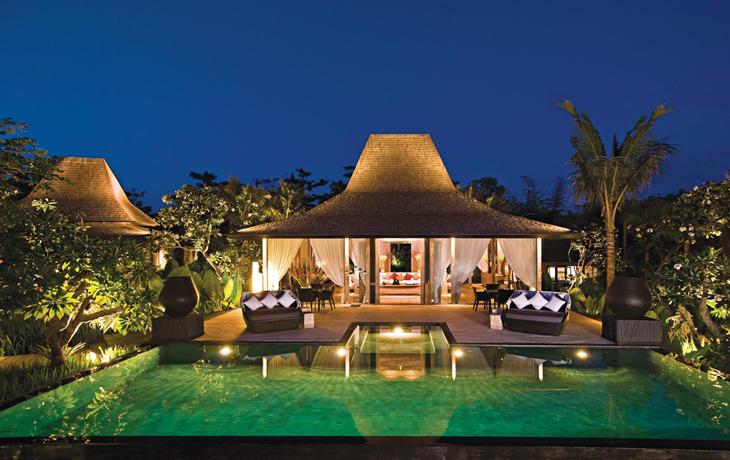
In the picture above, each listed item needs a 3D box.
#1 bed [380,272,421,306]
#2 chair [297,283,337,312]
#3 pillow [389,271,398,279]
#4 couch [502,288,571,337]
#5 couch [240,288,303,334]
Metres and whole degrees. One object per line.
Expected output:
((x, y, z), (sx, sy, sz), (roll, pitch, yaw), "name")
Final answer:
((1.862, 3.079, 31.262), (2.115, 1.707, 2.555), (2, -5, 1), "bed")
((-2.382, 3.383, 28.724), (1.318, 0.916, 1.401), (0, -1, 8), "chair")
((1.581, 2.514, 32.424), (0.357, 0.394, 0.115), (2, -8, -8), "pillow")
((7.464, 3.583, 25.427), (2.613, 1.714, 2.120), (0, -1, 33), "couch")
((-4.093, 3.609, 25.855), (2.440, 1.555, 1.945), (-2, 3, -27), "couch")
